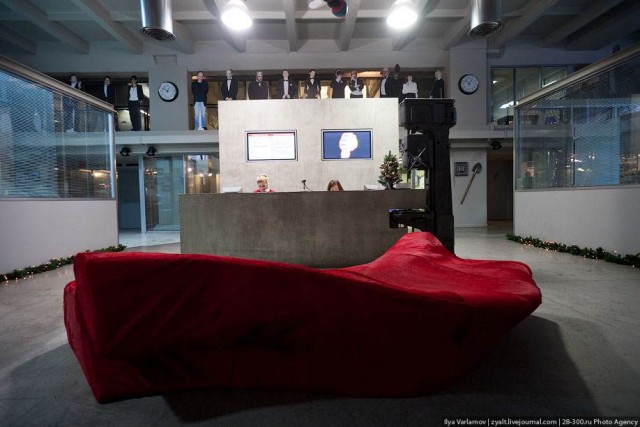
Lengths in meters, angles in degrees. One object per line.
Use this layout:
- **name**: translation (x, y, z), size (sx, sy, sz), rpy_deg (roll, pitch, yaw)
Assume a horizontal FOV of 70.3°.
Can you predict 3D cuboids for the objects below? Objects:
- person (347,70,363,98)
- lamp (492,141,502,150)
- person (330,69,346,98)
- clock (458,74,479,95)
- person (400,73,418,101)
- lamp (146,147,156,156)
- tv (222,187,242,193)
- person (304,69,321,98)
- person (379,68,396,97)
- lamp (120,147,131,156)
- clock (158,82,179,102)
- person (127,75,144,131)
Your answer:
- **person**: translation (0.994, -3.574, 12.704), size (0.377, 0.739, 0.520), rpy_deg (-1, 5, 2)
- **lamp**: translation (5.262, -2.050, 13.536), size (0.337, 0.236, 0.246), rpy_deg (-1, 5, -3)
- **person**: translation (0.521, -3.582, 12.664), size (0.364, 0.745, 0.514), rpy_deg (2, 6, 28)
- **clock**: translation (4.466, -3.869, 13.652), size (0.531, 0.535, 0.161), rpy_deg (-11, 2, -7)
- **person**: translation (2.585, -3.688, 13.183), size (0.394, 0.795, 1.005), rpy_deg (-1, 5, 7)
- **lamp**: translation (-4.960, -1.822, 13.350), size (0.280, 0.258, 0.400), rpy_deg (-3, 6, -20)
- **tv**: translation (-1.532, -0.403, 7.894), size (0.288, 0.077, 0.695), rpy_deg (-3, 5, -15)
- **person**: translation (-0.230, -3.541, 12.501), size (0.427, 0.739, 0.308), rpy_deg (-2, 6, -4)
- **person**: translation (1.928, -3.709, 12.958), size (0.388, 0.808, 0.643), rpy_deg (-1, 5, -2)
- **lamp**: translation (-5.674, -1.809, 13.239), size (0.292, 0.231, 0.413), rpy_deg (-3, 6, -23)
- **clock**: translation (-4.591, -3.664, 13.748), size (0.572, 0.576, 0.134), rpy_deg (3, 8, 1)
- **person**: translation (-5.514, -3.274, 13.571), size (0.402, 1.693, 0.889), rpy_deg (-3, 6, -21)
